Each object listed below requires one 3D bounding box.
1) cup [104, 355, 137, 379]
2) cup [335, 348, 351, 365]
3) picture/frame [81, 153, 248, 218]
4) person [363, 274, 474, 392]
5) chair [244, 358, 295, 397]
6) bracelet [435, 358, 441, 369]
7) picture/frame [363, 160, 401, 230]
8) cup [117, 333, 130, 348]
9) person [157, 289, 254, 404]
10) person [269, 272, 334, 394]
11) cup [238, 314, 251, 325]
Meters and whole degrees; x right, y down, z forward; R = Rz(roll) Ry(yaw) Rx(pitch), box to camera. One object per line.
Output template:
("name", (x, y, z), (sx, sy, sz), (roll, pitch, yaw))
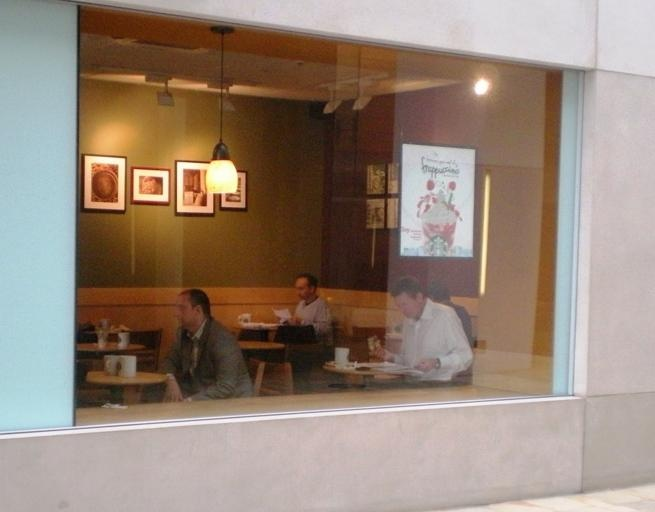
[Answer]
("cup", (-1.275, 0.691, 3.970), (0.193, 0.147, 0.121), (0, 1, -6))
("cup", (0.096, 0.723, 4.551), (0.125, 0.120, 0.100), (0, 0, 12))
("picture/frame", (-1.003, -0.438, 3.945), (0.970, 0.395, 0.234), (-4, 4, -21))
("person", (0.749, 0.729, 4.982), (0.692, 1.070, 0.517), (3, 7, 42))
("chair", (-0.409, 0.823, 4.485), (0.257, 0.394, 0.254), (0, -1, -14))
("bracelet", (0.832, 0.834, 4.910), (0.052, 0.058, 0.066), (1, -11, 2))
("picture/frame", (0.398, -0.433, 4.714), (0.286, 0.480, 0.049), (-5, 4, -37))
("cup", (-1.228, 0.515, 3.858), (0.091, 0.093, 0.066), (6, 6, 44))
("person", (-0.866, 0.637, 4.198), (0.668, 0.861, 0.627), (2, 12, -4))
("person", (-0.193, 0.539, 4.367), (0.195, 0.838, 0.478), (1, 5, 44))
("cup", (-0.533, 0.417, 4.091), (0.077, 0.081, 0.051), (1, 4, -8))
